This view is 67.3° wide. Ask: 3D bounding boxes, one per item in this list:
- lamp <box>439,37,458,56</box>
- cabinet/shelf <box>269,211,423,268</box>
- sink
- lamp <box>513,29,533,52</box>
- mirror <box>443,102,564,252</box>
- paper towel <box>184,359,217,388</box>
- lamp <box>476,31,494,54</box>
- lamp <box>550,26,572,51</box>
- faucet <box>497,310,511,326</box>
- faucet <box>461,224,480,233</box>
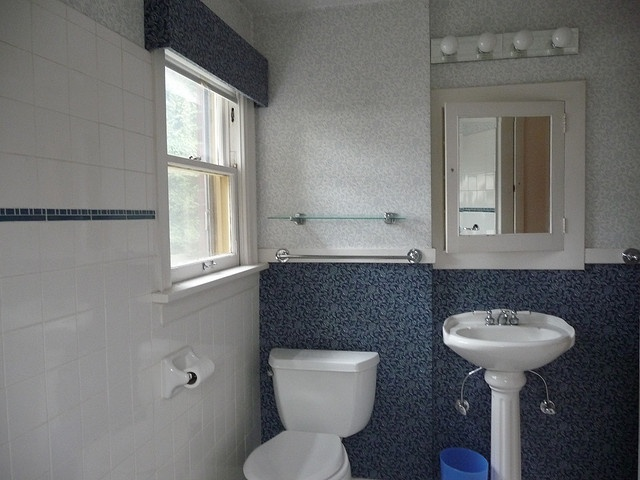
[{"bbox_3d":[0.750,-1.124,2.787,0.099,0.090,0.092,0,3,14],"label":"lamp"},{"bbox_3d":[0.161,-0.008,2.796,0.855,0.298,0.294,-1,3,-3],"label":"cabinet/shelf"},{"bbox_3d":[0.995,0.548,2.578,0.671,0.280,0.508,0,3,6],"label":"sink"},{"bbox_3d":[1.140,-1.108,2.685,0.093,0.101,0.089,-1,16,19],"label":"lamp"},{"bbox_3d":[1.083,-0.381,2.753,0.786,1.069,0.112,0,0,6],"label":"mirror"},{"bbox_3d":[-0.554,0.612,2.200,0.084,0.099,0.194,-36,-13,18],"label":"paper towel"},{"bbox_3d":[0.955,-1.123,2.748,0.098,0.097,0.121,1,3,19],"label":"lamp"},{"bbox_3d":[1.364,-1.138,2.707,0.104,0.104,0.106,1,3,24],"label":"lamp"},{"bbox_3d":[1.035,0.444,2.691,0.064,0.106,0.071,2,-8,-17],"label":"faucet"},{"bbox_3d":[0.873,-0.066,2.776,0.104,0.041,0.035,0,0,18],"label":"faucet"}]
